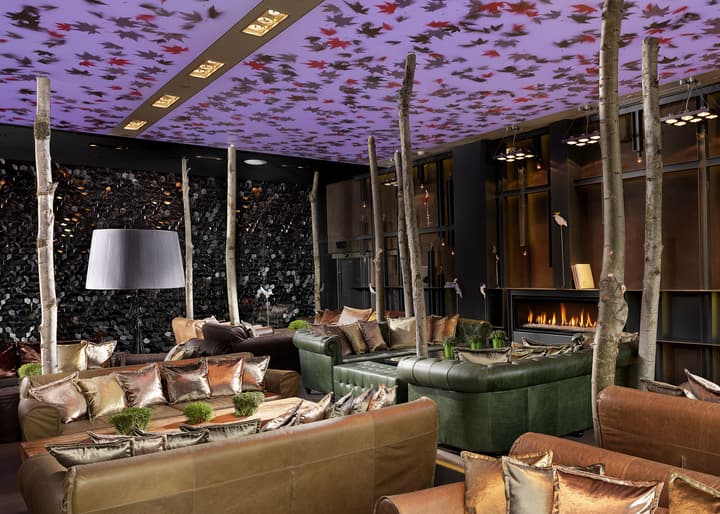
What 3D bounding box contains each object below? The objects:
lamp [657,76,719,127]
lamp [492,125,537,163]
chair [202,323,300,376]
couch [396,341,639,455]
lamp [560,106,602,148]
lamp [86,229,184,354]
[{"bbox_3d":[4.488,-2.080,6.735,0.524,0.755,1.391,-5,-2,40],"label":"lamp"},{"bbox_3d":[2.743,-2.006,8.738,0.788,0.472,0.727,1,4,14],"label":"lamp"},{"bbox_3d":[-1.679,1.287,7.540,1.059,0.699,1.081,0,-3,-42],"label":"chair"},{"bbox_3d":[1.494,0.952,4.951,2.225,0.740,1.035,1,-2,-37],"label":"couch"},{"bbox_3d":[3.536,-2.035,7.984,0.552,0.693,1.000,-5,-2,22],"label":"lamp"},{"bbox_3d":[-1.626,0.063,3.752,0.613,0.758,0.596,-1,3,6],"label":"lamp"}]
